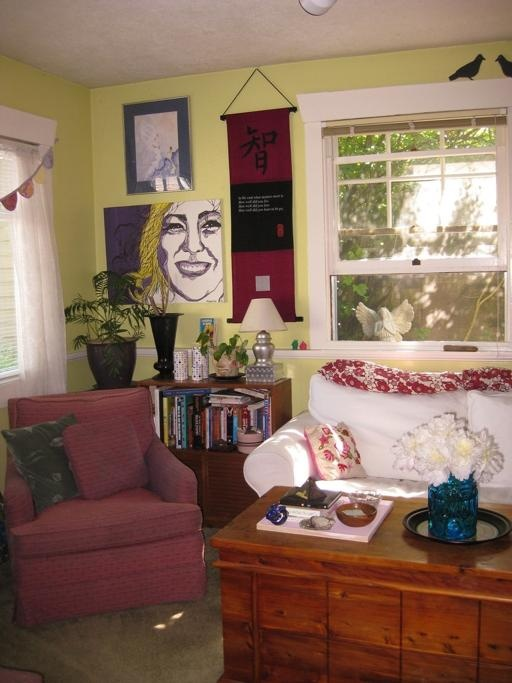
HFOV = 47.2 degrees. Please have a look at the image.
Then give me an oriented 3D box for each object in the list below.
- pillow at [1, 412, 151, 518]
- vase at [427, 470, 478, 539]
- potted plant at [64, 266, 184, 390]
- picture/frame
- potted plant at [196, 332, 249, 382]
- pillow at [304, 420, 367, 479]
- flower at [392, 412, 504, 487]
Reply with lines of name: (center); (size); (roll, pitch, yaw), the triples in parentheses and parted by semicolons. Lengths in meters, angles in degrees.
pillow: (-0.797, 0.531, 2.558); (0.474, 0.407, 0.135); (-11, -21, -42)
vase: (0.591, 0.477, 1.774); (0.151, 0.215, 0.137); (3, -10, -2)
potted plant: (-0.797, -0.101, 3.841); (0.816, 0.757, 0.803); (0, 4, 2)
picture/frame: (-0.622, -1.314, 3.854); (0.750, 0.753, 0.039); (3, 16, 19)
potted plant: (-0.162, 0.082, 3.609); (0.311, 0.269, 0.313); (4, 4, 38)
pillow: (0.356, 0.516, 2.717); (0.237, 0.234, 0.198); (-8, 9, -25)
flower: (0.559, 0.322, 1.739); (0.311, 0.224, 0.107); (-1, 9, 17)
